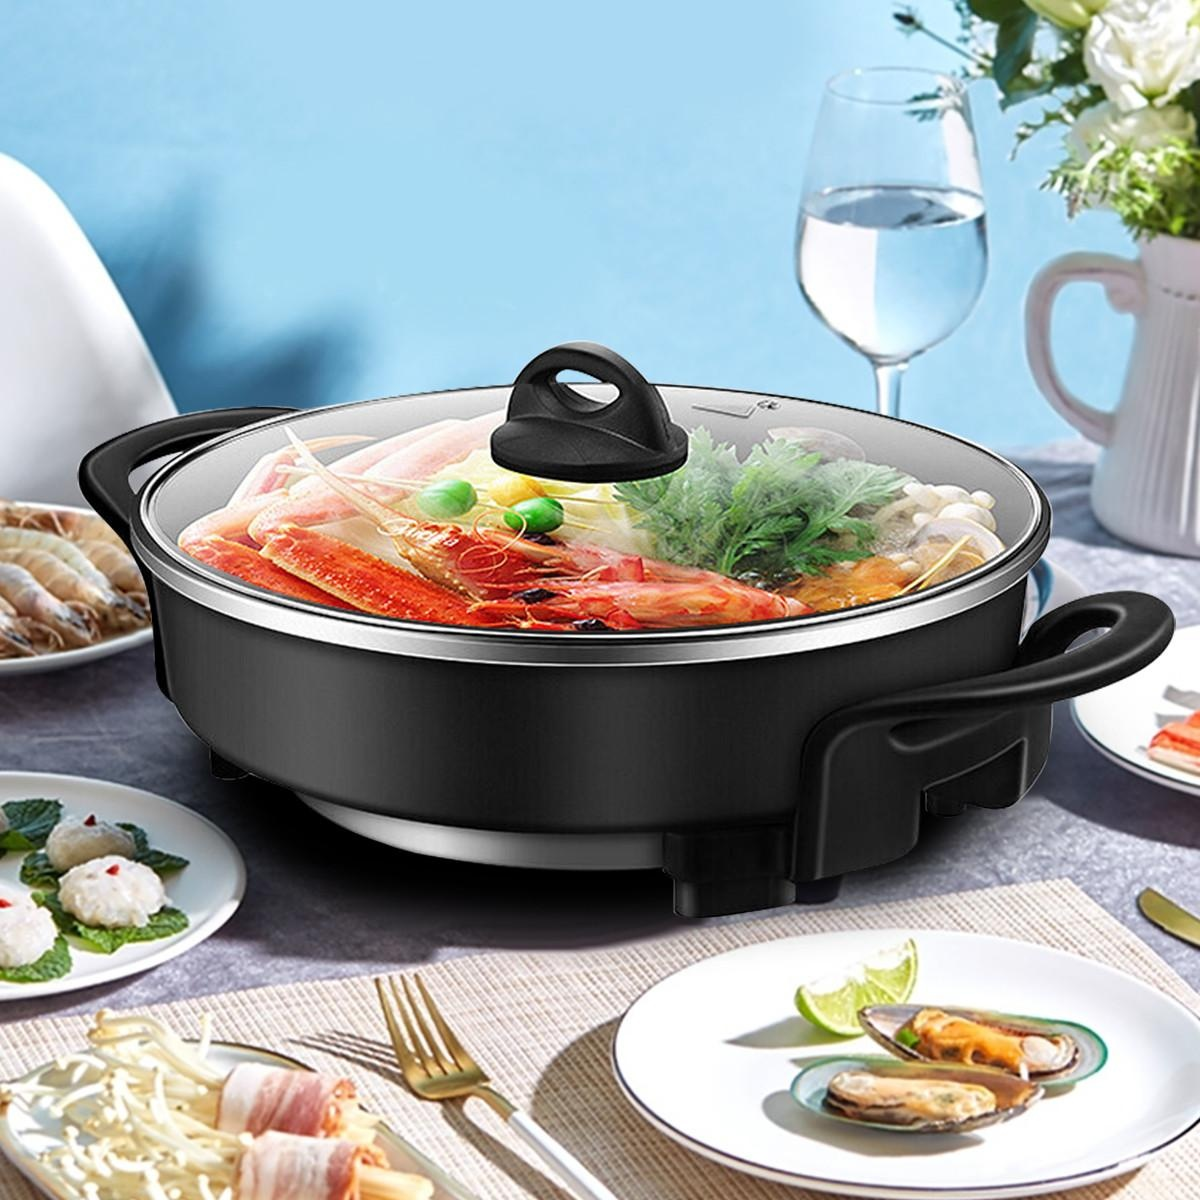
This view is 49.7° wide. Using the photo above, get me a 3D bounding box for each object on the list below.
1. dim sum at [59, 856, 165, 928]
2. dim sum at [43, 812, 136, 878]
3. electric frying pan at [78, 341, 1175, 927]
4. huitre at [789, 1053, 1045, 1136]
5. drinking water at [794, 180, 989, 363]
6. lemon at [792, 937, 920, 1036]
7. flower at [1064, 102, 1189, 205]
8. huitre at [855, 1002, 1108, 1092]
[{"bbox_3d":[-0.244,0.148,0.648,0.046,0.015,0.038,15,24,23],"label":"dim sum"},{"bbox_3d":[-0.271,0.130,0.685,0.039,0.019,0.037,7,1,-39],"label":"dim sum"},{"bbox_3d":[0.009,0.000,0.726,0.470,0.291,0.411,-11,25,-21],"label":"electric frying pan"},{"bbox_3d":[0.115,0.179,0.476,0.058,0.008,0.034,2,1,10],"label":"huitre"},{"bbox_3d":[0.225,-0.247,1.056,0.180,0.114,0.169,-4,2,11],"label":"drinking water"},{"bbox_3d":[0.110,0.166,0.558,0.057,0.018,0.030,-13,30,-42],"label":"lemon"},{"bbox_3d":[0.432,-0.375,1.054,0.097,0.054,0.116,5,23,15],"label":"flower"},{"bbox_3d":[0.149,0.170,0.505,0.081,0.014,0.032,4,-10,18],"label":"huitre"}]
